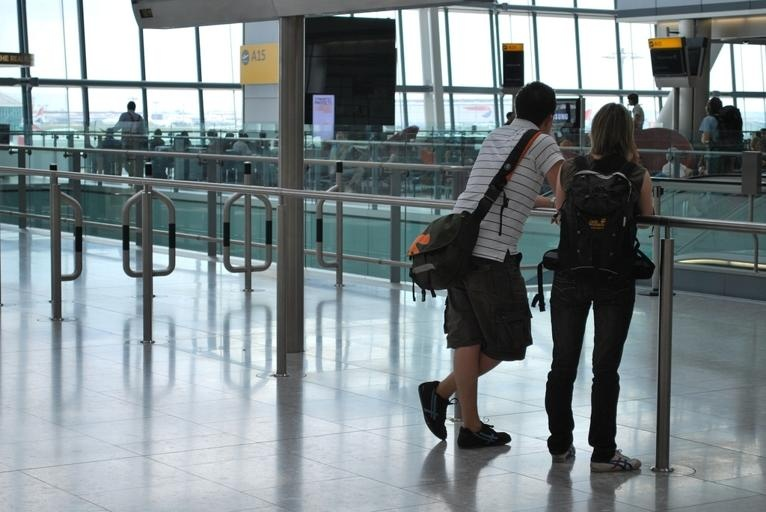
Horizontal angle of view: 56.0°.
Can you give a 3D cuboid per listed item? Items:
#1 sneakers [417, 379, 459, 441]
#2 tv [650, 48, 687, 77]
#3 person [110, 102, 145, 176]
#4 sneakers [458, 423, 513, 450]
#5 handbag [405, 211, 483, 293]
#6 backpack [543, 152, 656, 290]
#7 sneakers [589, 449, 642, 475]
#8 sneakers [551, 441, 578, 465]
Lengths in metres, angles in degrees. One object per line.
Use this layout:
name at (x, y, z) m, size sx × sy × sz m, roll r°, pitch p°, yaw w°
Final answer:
sneakers at (0.293, 0.840, 3.842) m, size 0.163 × 0.323 × 0.119 m, roll -17°, pitch 1°, yaw 10°
tv at (4.942, -3.332, 12.409) m, size 0.507 × 0.396 × 0.278 m, roll 10°, pitch 19°, yaw 44°
person at (-4.954, -2.178, 14.058) m, size 0.556 × 1.628 × 0.456 m, roll 3°, pitch -1°, yaw -35°
sneakers at (0.519, 0.926, 3.759) m, size 0.293 × 0.110 × 0.107 m, roll -1°, pitch 0°, yaw -17°
handbag at (0.291, -0.024, 3.671) m, size 0.233 × 0.413 × 0.354 m, roll 15°, pitch -17°, yaw -33°
backpack at (1.018, -0.171, 3.353) m, size 0.543 × 0.533 × 0.382 m, roll 5°, pitch 4°, yaw 16°
sneakers at (1.100, 0.975, 3.441) m, size 0.257 × 0.103 × 0.096 m, roll -1°, pitch 1°, yaw -18°
sneakers at (0.894, 0.974, 3.583) m, size 0.058 × 0.058 × 0.159 m, roll 2°, pitch 5°, yaw 21°
